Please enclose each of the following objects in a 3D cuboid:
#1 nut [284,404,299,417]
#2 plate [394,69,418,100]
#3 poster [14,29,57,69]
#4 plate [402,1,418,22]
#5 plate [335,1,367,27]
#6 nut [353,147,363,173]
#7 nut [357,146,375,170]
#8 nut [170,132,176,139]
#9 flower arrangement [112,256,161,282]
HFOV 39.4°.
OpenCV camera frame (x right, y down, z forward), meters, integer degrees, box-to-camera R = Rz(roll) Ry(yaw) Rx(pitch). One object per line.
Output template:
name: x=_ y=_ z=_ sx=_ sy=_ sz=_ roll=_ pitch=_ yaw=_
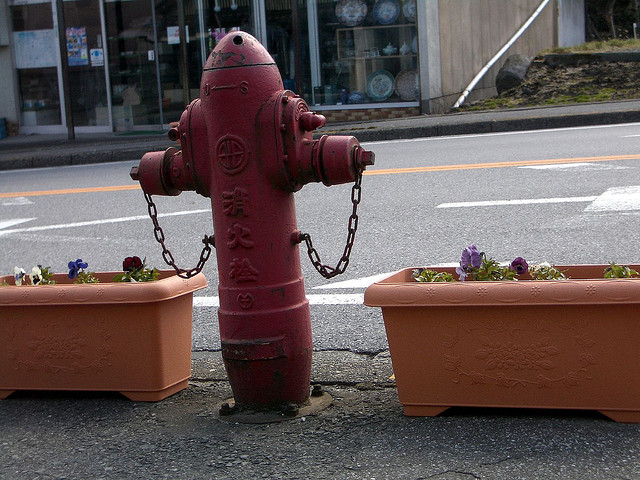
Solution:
nut: x=-0.153 y=0.870 z=4.588 sx=0.054 sy=0.048 sz=0.053 roll=1 pitch=-1 yaw=2
plate: x=1.644 y=-3.030 z=17.448 sx=0.448 sy=0.575 sz=0.118 roll=4 pitch=14 yaw=35
poster: x=-6.581 y=-4.471 z=20.792 sx=0.881 sy=0.765 sz=0.136 roll=3 pitch=8 yaw=13
plate: x=1.720 y=-4.349 z=17.059 sx=0.172 sy=0.407 sz=0.520 roll=-7 pitch=12 yaw=-14
plate: x=0.607 y=-4.487 z=17.759 sx=0.647 sy=0.504 sz=0.114 roll=0 pitch=12 yaw=19
nut: x=0.179 y=-0.406 z=4.600 sx=0.034 sy=0.101 sz=0.088 roll=-2 pitch=8 yaw=15
nut: x=0.225 y=-0.429 z=4.664 sx=0.106 sy=0.110 sz=0.111 roll=0 pitch=22 yaw=-1
nut: x=-0.781 y=-0.554 z=4.732 sx=0.027 sy=0.029 sz=0.029 roll=-2 pitch=7 yaw=-10
flower arrangement: x=-1.042 y=0.176 z=5.057 sx=0.173 sy=0.099 sz=0.171 roll=3 pitch=-2 yaw=-19
